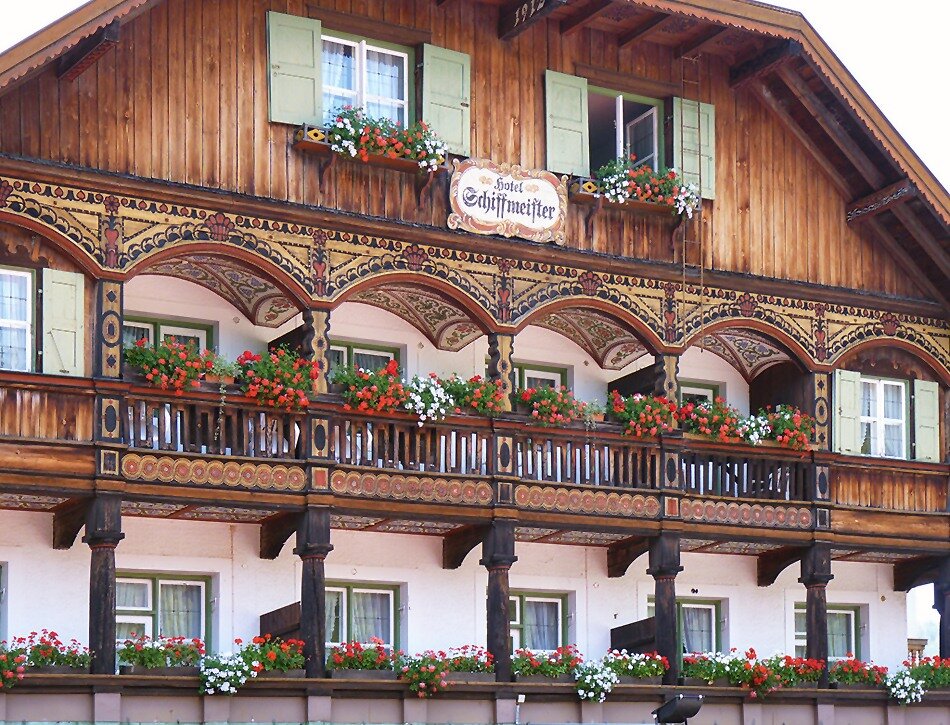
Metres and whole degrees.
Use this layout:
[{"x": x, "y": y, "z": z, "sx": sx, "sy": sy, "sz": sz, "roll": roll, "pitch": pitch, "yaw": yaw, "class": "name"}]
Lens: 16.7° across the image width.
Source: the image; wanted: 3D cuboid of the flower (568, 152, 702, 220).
[{"x": 2.898, "y": -3.159, "z": 56.897, "sx": 1.871, "sy": 1.044, "sz": 0.600, "roll": 0, "pitch": -10, "yaw": -25, "class": "flower"}]
